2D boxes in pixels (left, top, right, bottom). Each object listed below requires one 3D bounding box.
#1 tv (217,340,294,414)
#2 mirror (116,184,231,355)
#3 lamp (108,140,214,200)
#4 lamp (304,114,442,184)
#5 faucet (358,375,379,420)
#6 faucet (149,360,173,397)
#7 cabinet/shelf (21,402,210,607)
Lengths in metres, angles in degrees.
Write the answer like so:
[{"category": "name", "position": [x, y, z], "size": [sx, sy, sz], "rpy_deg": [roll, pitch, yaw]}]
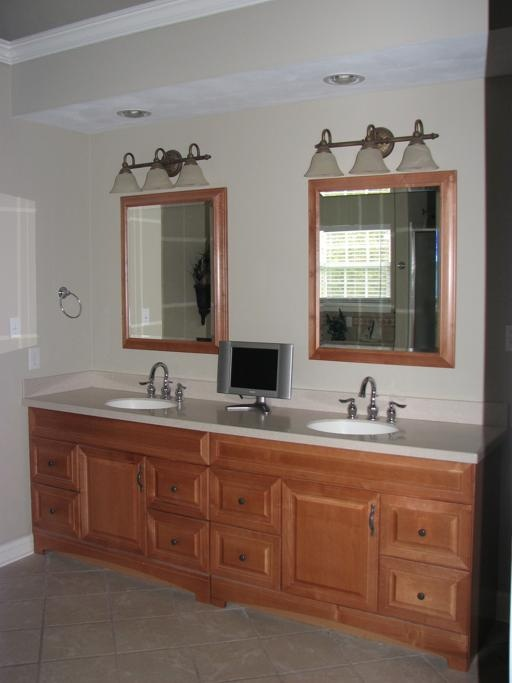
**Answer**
[{"category": "tv", "position": [0.005, 0.174, 2.906], "size": [0.352, 0.291, 0.134], "rpy_deg": [1, -3, 27]}, {"category": "mirror", "position": [-0.487, -0.380, 3.323], "size": [0.777, 0.890, 0.028], "rpy_deg": [5, 8, 34]}, {"category": "lamp", "position": [-0.499, -0.892, 3.068], "size": [0.544, 0.199, 0.197], "rpy_deg": [0, 13, 18]}, {"category": "lamp", "position": [0.506, -0.832, 2.566], "size": [0.552, 0.270, 0.396], "rpy_deg": [0, 3, 17]}, {"category": "faucet", "position": [0.511, 0.253, 2.677], "size": [0.090, 0.190, 0.218], "rpy_deg": [0, 3, 10]}, {"category": "faucet", "position": [-0.536, 0.218, 3.283], "size": [0.128, 0.204, 0.275], "rpy_deg": [-1, 3, -7]}, {"category": "cabinet/shelf", "position": [-0.630, 0.772, 3.091], "size": [1.189, 0.848, 0.387], "rpy_deg": [2, 5, 29]}]
